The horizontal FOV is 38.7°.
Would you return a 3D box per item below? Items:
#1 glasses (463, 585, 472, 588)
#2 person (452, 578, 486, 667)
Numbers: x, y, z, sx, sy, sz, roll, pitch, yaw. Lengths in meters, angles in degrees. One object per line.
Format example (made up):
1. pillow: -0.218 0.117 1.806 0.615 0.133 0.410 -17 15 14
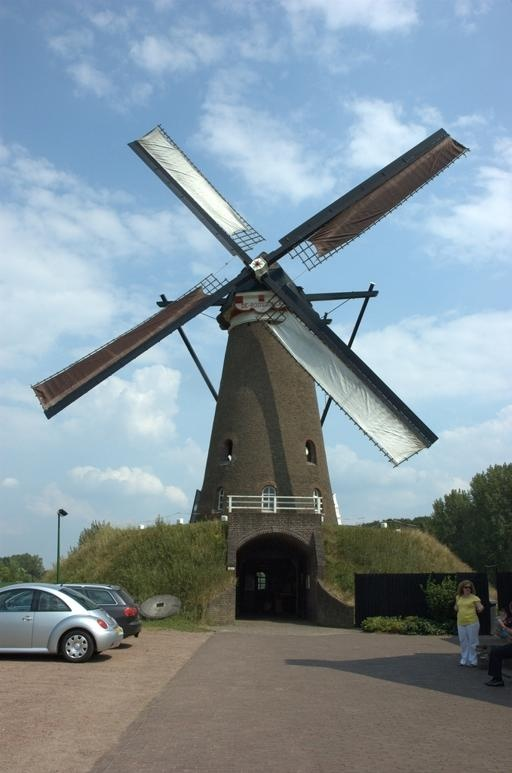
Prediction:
1. glasses: 3.845 3.643 13.184 0.071 0.044 0.090 0 -18 4
2. person: 3.821 4.269 13.096 0.452 1.484 1.193 -3 -12 15
